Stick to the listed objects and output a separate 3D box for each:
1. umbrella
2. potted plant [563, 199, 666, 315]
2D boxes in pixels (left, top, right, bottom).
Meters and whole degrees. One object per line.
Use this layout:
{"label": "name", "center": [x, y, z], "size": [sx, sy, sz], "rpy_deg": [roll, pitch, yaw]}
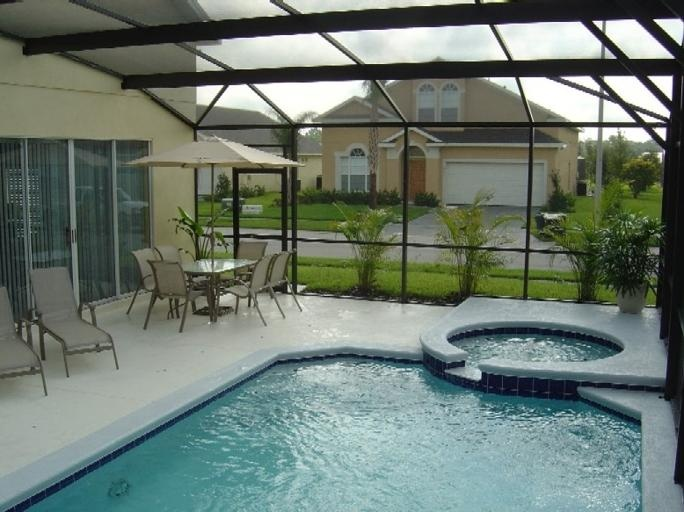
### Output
{"label": "umbrella", "center": [-2.391, -1.317, 9.721], "size": [2.258, 1.246, 2.056], "rpy_deg": [-4, 12, -1]}
{"label": "potted plant", "center": [4.804, -0.073, 10.003], "size": [1.704, 1.576, 1.773], "rpy_deg": [4, 8, 26]}
